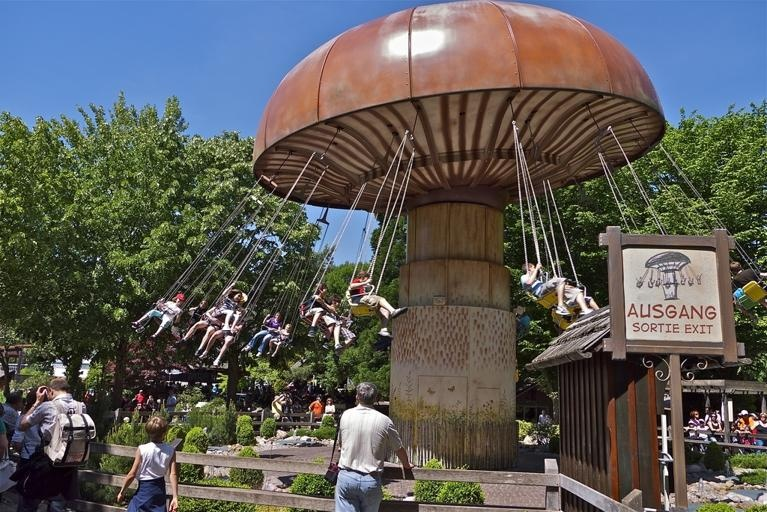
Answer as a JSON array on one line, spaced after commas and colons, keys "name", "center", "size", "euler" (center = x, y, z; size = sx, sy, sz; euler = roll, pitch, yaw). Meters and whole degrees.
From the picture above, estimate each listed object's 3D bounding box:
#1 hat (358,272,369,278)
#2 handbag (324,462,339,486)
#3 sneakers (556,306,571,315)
[{"name": "hat", "center": [-0.495, 0.470, 15.093], "size": [0.187, 0.124, 0.203], "euler": [1, -13, -1]}, {"name": "handbag", "center": [-0.807, 3.445, 9.067], "size": [0.264, 0.408, 0.354], "euler": [2, -8, -5]}, {"name": "sneakers", "center": [4.517, 1.346, 14.338], "size": [0.404, 0.193, 0.148], "euler": [8, -47, 47]}]
